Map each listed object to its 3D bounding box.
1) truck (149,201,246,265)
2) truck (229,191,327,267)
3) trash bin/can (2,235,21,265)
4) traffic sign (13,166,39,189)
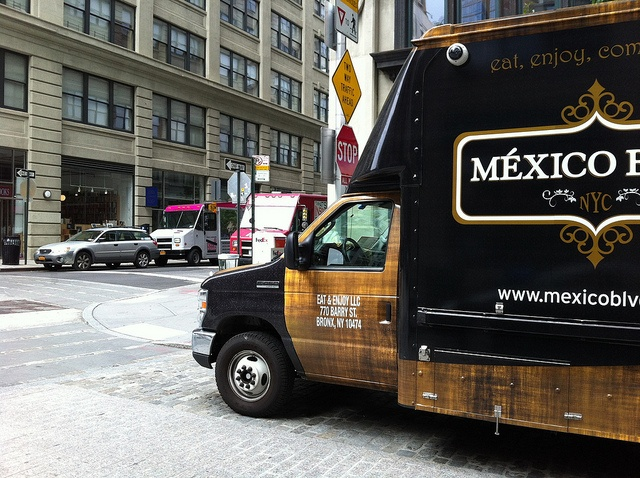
[{"bbox_3d":[-5.342,-0.266,27.233,2.653,2.467,4.235,-2,-4,30],"label":"truck"},{"bbox_3d":[-1.489,-0.400,18.727,1.977,2.131,3.268,0,1,27],"label":"truck"},{"bbox_3d":[-12.355,0.430,22.848,0.564,1.134,0.596,-1,3,-33],"label":"trash bin/can"},{"bbox_3d":[-12.190,-2.604,23.771,0.135,0.705,0.974,14,0,39],"label":"traffic sign"}]
